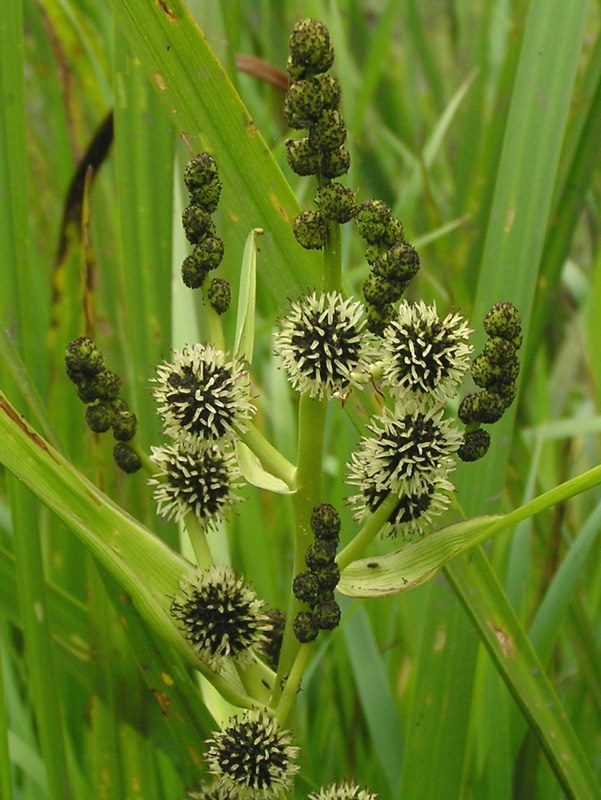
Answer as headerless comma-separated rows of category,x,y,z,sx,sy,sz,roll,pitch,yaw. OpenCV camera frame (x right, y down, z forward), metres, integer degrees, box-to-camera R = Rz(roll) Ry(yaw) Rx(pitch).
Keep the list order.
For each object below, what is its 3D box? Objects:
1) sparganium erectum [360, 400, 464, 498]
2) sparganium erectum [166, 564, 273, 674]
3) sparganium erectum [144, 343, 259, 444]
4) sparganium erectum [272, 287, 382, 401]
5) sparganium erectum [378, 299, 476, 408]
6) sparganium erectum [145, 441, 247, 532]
sparganium erectum,0.092,0.044,1.038,0.068,0.070,0.057,6,-67,35
sparganium erectum,-0.084,0.217,1.111,0.072,0.085,0.094,-33,-62,29
sparganium erectum,-0.092,0.010,1.100,0.093,0.088,0.101,-2,-64,12
sparganium erectum,0.026,-0.059,1.038,0.096,0.131,0.096,-6,-19,13
sparganium erectum,0.120,-0.039,1.060,0.091,0.089,0.102,-2,-61,0
sparganium erectum,-0.090,0.095,1.157,0.083,0.067,0.082,15,1,-36
